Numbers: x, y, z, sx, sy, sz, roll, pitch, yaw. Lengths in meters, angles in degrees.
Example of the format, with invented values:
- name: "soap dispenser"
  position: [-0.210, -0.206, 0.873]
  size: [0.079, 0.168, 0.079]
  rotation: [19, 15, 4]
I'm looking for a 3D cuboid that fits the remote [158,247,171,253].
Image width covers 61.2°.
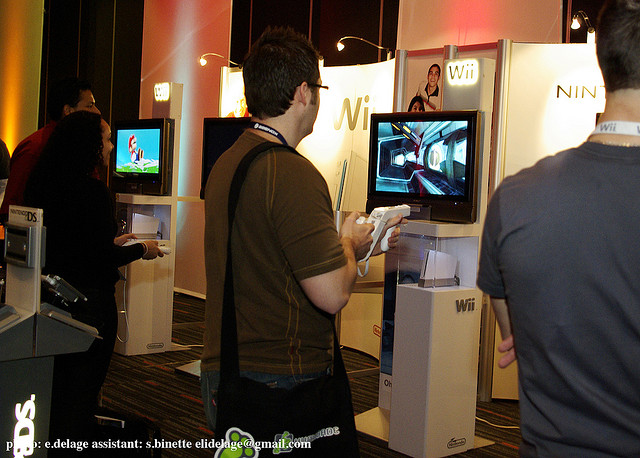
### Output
- name: "remote"
  position: [-1.071, 0.144, 3.715]
  size: [0.083, 0.025, 0.089]
  rotation: [2, 7, -13]

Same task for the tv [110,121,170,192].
- name: "tv"
  position: [-1.699, -0.688, 5.191]
  size: [0.614, 0.669, 0.235]
  rotation: [6, 3, 23]

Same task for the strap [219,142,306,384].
- name: "strap"
  position: [-0.200, 0.101, 1.630]
  size: [0.114, 0.633, 0.299]
  rotation: [-2, -6, -7]

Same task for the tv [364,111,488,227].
- name: "tv"
  position: [0.689, -0.377, 3.342]
  size: [0.626, 0.609, 0.067]
  rotation: [10, 7, 38]

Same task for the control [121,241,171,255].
- name: "control"
  position: [-1.075, 0.113, 3.318]
  size: [0.173, 0.052, 0.169]
  rotation: [3, 2, -5]

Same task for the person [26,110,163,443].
- name: "person"
  position: [-1.219, 0.323, 3.008]
  size: [0.642, 2.017, 0.584]
  rotation: [-3, 25, -31]
